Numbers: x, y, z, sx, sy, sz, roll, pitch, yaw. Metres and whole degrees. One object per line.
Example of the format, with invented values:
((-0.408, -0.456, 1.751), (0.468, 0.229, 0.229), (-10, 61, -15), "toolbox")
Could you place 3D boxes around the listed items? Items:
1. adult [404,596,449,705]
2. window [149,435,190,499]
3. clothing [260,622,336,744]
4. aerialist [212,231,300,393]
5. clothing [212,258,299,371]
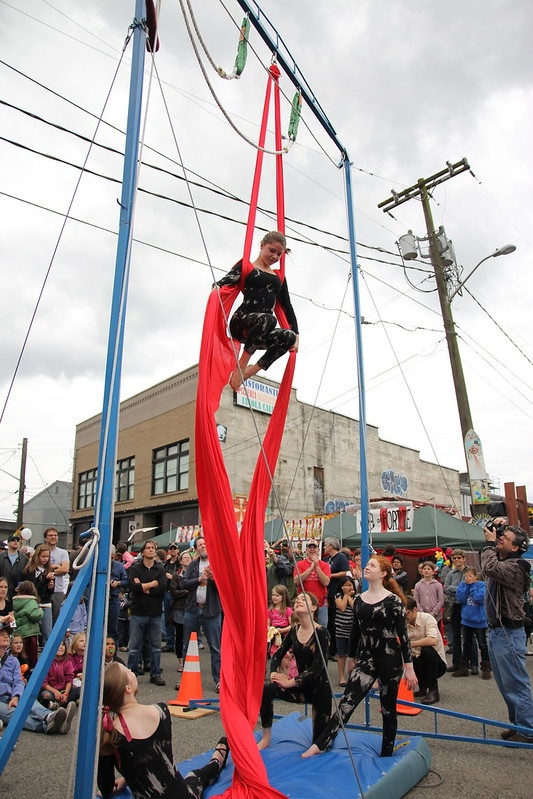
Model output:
((1.656, 2.669, 6.152), (0.491, 1.010, 0.502), (-5, -16, -4), "adult")
((-3.930, 2.830, 23.560), (0.178, 2.123, 2.347), (7, 8, 33), "window")
((0.212, 2.057, 4.315), (0.515, 1.050, 0.407), (3, -25, 0), "clothing")
((-0.046, -0.655, 4.164), (0.662, 1.235, 0.501), (13, -21, -15), "aerialist")
((-0.061, -0.598, 4.129), (0.786, 0.691, 0.311), (7, -14, -30), "clothing")
